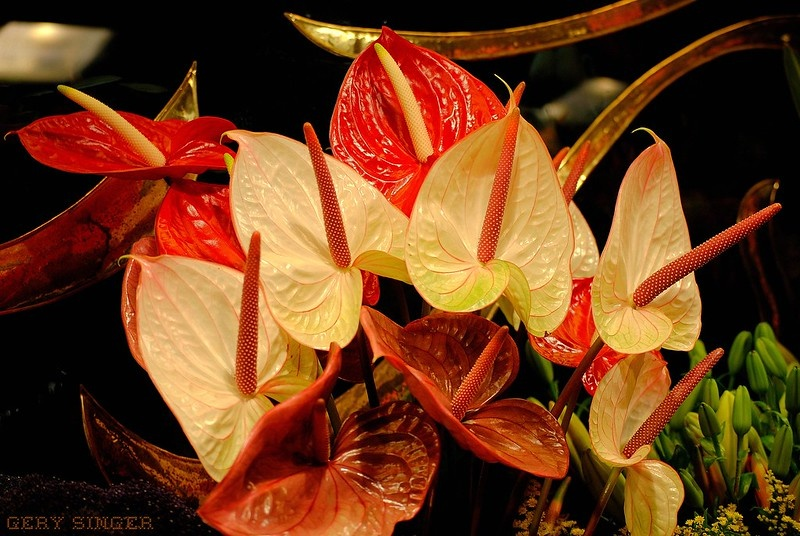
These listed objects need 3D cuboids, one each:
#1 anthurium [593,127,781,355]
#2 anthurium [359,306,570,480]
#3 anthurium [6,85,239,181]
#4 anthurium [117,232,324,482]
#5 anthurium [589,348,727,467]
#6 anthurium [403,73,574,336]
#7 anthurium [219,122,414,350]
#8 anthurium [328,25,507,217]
[{"bbox_3d":[0.450,-0.025,1.300,0.272,0.351,0.167,-2,19,-34],"label":"anthurium"},{"bbox_3d":[0.070,0.213,1.327,0.353,0.161,0.236,47,45,0],"label":"anthurium"},{"bbox_3d":[-0.474,-0.217,1.357,0.300,0.111,0.198,13,35,-14],"label":"anthurium"},{"bbox_3d":[-0.292,0.150,1.327,0.411,0.231,0.121,61,-3,9],"label":"anthurium"},{"bbox_3d":[0.445,0.221,1.312,0.135,0.205,0.046,1,18,-25],"label":"anthurium"},{"bbox_3d":[0.163,-0.056,1.364,0.319,0.429,0.156,16,50,-8],"label":"anthurium"},{"bbox_3d":[-0.112,-0.028,1.274,0.224,0.099,0.304,20,17,-5],"label":"anthurium"},{"bbox_3d":[0.012,-0.282,1.384,0.267,0.350,0.084,28,-8,8],"label":"anthurium"}]
